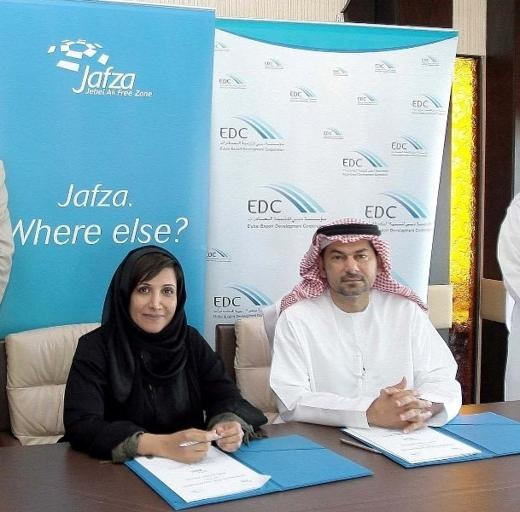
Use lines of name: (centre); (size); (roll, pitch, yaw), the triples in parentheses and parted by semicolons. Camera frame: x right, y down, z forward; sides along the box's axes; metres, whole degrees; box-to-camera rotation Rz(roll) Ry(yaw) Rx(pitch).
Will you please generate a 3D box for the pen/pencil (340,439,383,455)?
pen/pencil: (0.308, 0.609, 1.614); (0.166, 0.017, 0.031); (11, 5, 24)
